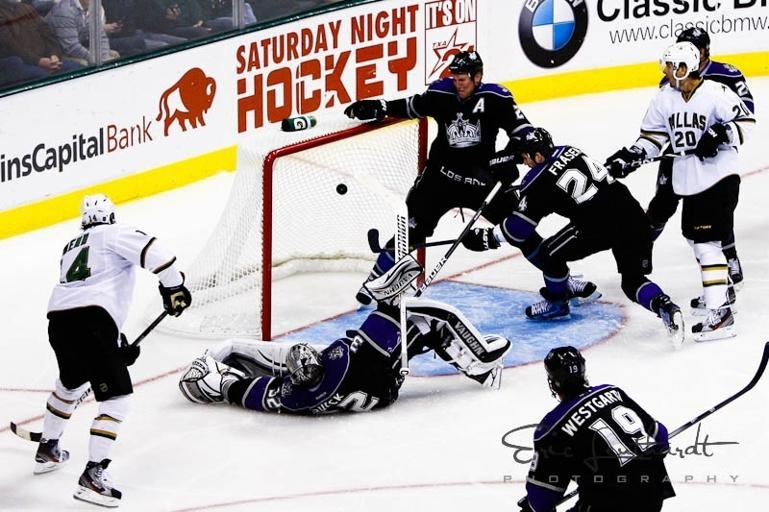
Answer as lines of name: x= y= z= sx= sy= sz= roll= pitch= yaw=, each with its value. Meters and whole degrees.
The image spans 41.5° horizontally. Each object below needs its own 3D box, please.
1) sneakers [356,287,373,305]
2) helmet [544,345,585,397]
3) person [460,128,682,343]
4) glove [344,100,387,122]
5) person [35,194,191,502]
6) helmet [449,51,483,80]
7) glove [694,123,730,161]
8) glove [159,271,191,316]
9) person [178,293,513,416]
sneakers: x=-0.138 y=0.275 z=6.918 sx=0.109 sy=0.163 sz=0.053 roll=24 pitch=72 yaw=17
helmet: x=0.765 y=0.486 z=4.435 sx=0.178 sy=0.206 sz=0.216 roll=0 pitch=26 yaw=4
person: x=1.298 y=-0.172 z=6.389 sx=0.938 sy=1.190 sz=1.570 roll=-13 pitch=12 yaw=-38
glove: x=-0.112 y=-1.000 z=6.982 sx=0.256 sy=0.082 sz=0.135 roll=-3 pitch=18 yaw=-9
person: x=-1.513 y=0.538 z=5.390 sx=0.599 sy=1.313 sz=0.864 roll=5 pitch=23 yaw=36
helmet: x=0.548 y=-1.278 z=6.789 sx=0.218 sy=0.154 sz=0.159 roll=13 pitch=18 yaw=1
glove: x=2.019 y=-0.702 z=6.286 sx=0.169 sy=0.224 sz=0.067 roll=46 pitch=15 yaw=25
glove: x=-1.146 y=0.188 z=5.524 sx=0.159 sy=0.100 sz=0.244 roll=-5 pitch=44 yaw=-27
person: x=-0.204 y=0.593 z=5.927 sx=2.039 sy=0.680 sz=0.748 roll=-1 pitch=8 yaw=-2
